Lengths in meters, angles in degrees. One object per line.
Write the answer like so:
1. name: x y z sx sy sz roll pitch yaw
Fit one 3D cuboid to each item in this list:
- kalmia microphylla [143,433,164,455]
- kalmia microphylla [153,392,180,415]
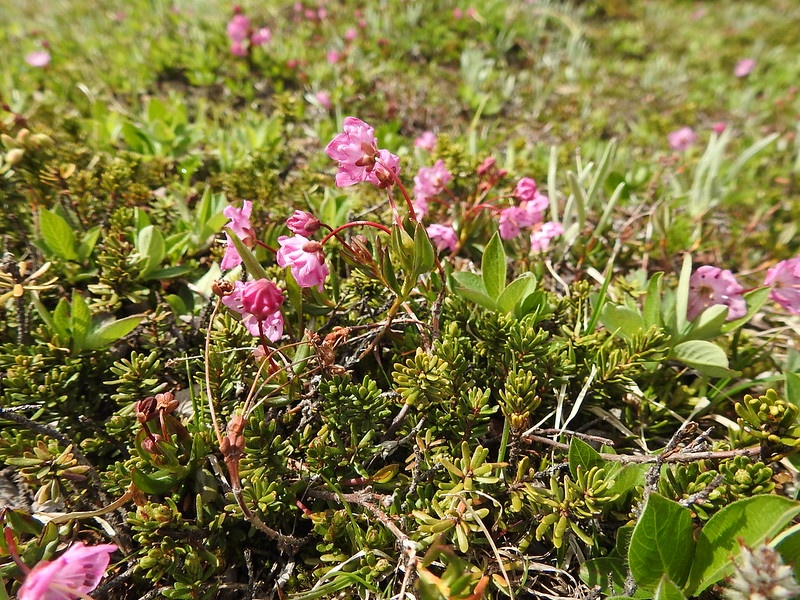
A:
1. kalmia microphylla: -1.024 0.583 3.048 0.065 0.050 0.090 21 102 -13
2. kalmia microphylla: -0.967 0.425 3.028 0.085 0.073 0.072 -20 58 -2
